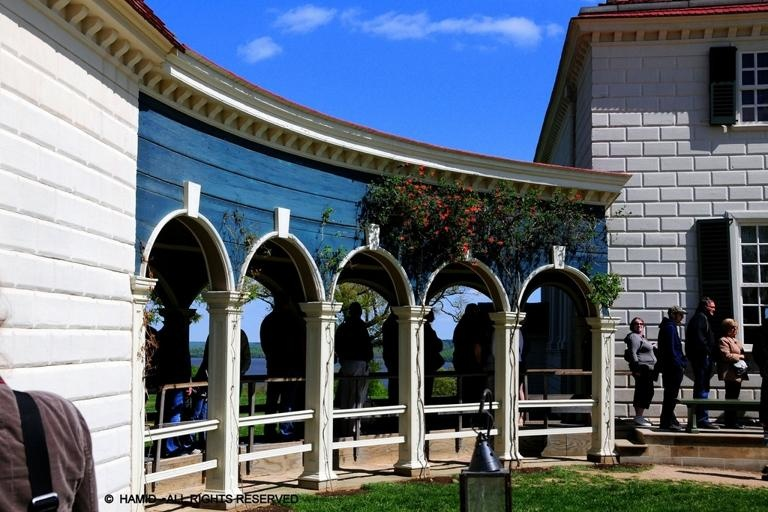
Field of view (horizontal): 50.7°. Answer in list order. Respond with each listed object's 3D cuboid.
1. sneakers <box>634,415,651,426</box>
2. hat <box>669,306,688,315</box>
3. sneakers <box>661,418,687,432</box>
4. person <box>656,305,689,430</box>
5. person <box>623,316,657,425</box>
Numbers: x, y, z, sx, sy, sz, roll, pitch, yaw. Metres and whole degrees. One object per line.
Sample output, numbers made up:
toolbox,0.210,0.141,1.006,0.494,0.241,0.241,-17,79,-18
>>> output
sneakers,5.071,3.264,15.898,0.204,0.135,0.337,-1,-5,-16
hat,5.526,1.010,15.045,0.382,0.141,0.242,0,3,-25
sneakers,5.463,3.218,15.283,0.484,0.194,0.183,-4,-5,19
person,5.391,2.108,15.165,0.534,2.321,0.961,-3,-10,19
person,5.040,2.301,15.843,0.592,2.096,1.190,-3,-10,17
